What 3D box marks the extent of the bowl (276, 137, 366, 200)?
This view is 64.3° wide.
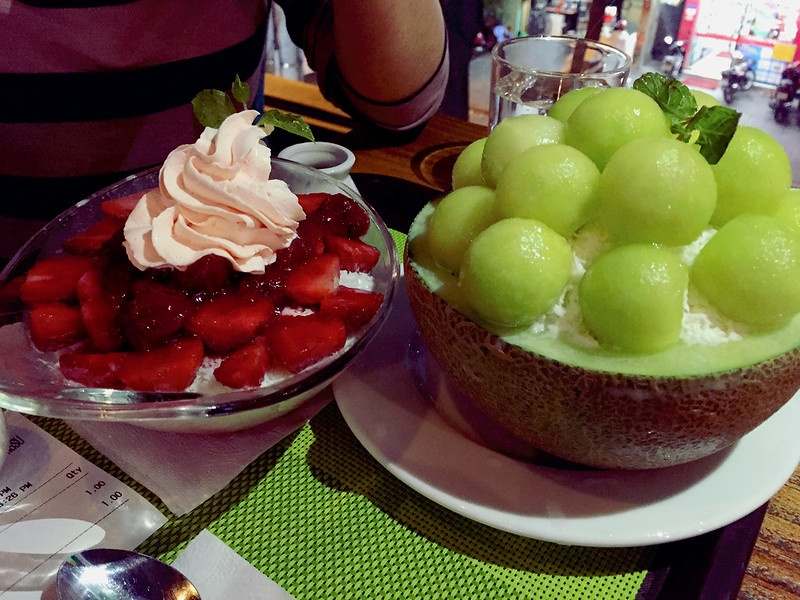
[{"bbox_3d":[-0.136,-0.247,1.093,0.121,0.118,0.123,5,39,-4],"label":"bowl"}]

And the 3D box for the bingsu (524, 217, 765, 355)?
[{"bbox_3d":[0.219,-0.005,0.610,0.148,0.044,0.152,4,47,27],"label":"bingsu"}]
